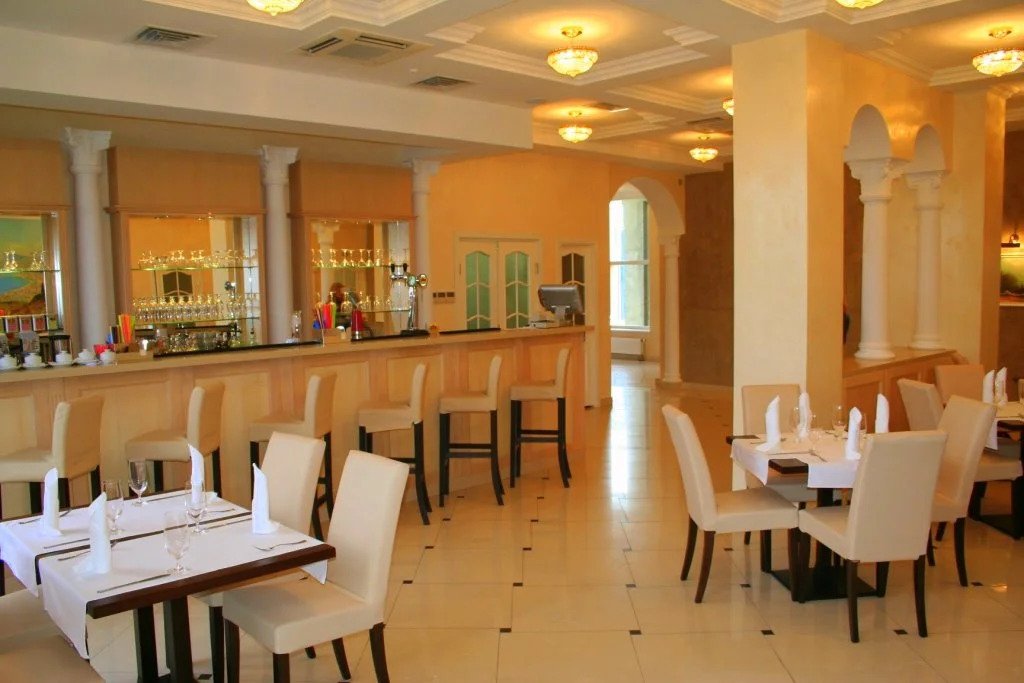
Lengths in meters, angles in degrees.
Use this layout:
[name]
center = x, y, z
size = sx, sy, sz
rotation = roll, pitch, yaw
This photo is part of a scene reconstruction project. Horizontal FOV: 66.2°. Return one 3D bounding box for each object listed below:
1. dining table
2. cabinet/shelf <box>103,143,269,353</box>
[dining table]
center = -2.313, 1.204, 5.066
size = 1.458, 1.024, 1.650
rotation = -6, 10, -36
[cabinet/shelf]
center = -3.910, -1.124, 9.604
size = 1.779, 2.456, 0.653
rotation = -6, 14, -20
